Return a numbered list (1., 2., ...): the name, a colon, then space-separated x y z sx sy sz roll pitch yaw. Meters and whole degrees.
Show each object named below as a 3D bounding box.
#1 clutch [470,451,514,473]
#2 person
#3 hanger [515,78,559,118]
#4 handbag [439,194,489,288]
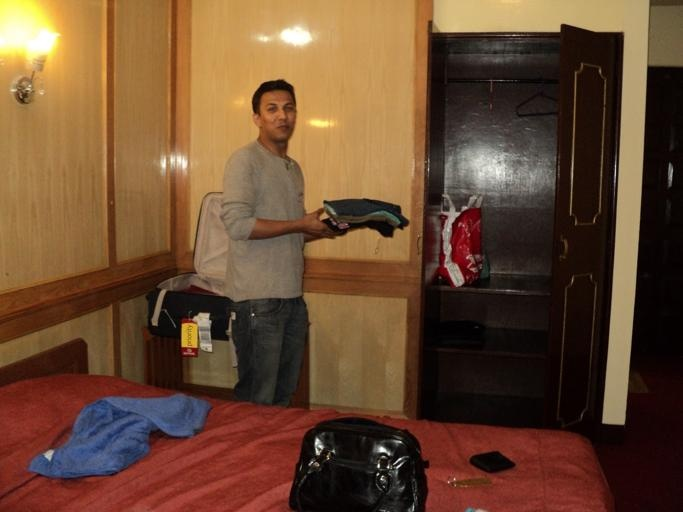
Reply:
1. clutch: 0.584 0.785 2.192 0.168 0.041 0.099 0 7 -19
2. person: -0.285 0.115 3.137 0.643 2.017 0.659 3 6 22
3. hanger: 1.376 -1.079 4.006 0.329 0.022 0.294 3 -27 24
4. handbag: 0.802 -0.117 3.925 0.320 0.599 0.442 7 8 36
